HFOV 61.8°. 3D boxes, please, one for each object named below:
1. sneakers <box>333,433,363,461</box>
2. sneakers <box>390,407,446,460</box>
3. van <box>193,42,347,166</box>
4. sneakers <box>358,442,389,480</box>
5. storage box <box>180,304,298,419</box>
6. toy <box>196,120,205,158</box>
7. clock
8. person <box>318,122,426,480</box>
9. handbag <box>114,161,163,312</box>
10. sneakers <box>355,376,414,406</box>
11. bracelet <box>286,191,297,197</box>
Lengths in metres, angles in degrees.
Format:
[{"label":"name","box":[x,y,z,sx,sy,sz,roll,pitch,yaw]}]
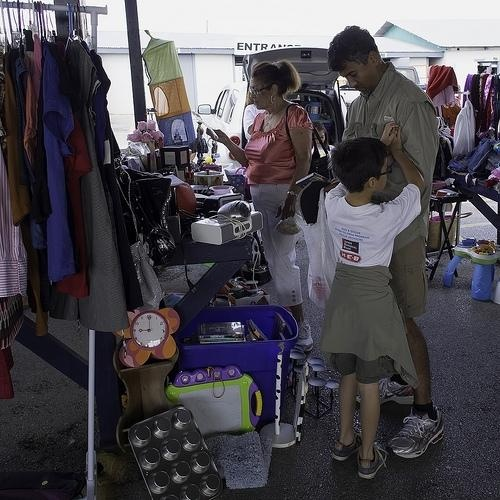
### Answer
[{"label":"sneakers","box":[0.425,0.871,1.821,0.056,0.081,0.163,3,21,32]},{"label":"sneakers","box":[0.770,0.804,1.923,0.313,0.160,0.118,-28,20,-39]},{"label":"van","box":[0.229,-1.807,5.610,1.628,1.801,3.014,-2,33,-1]},{"label":"sneakers","box":[0.524,0.889,1.780,0.075,0.073,0.163,-5,21,16]},{"label":"storage box","box":[-0.048,0.452,1.977,0.540,0.435,0.440,-1,5,-3]},{"label":"toy","box":[-0.411,-0.920,3.491,0.073,0.299,0.365,-3,12,-7]},{"label":"clock","box":[-0.425,0.333,1.656,0.276,0.278,0.102,-4,7,-26]},{"label":"person","box":[0.491,0.220,1.692,0.377,1.421,0.281,3,12,24]},{"label":"handbag","box":[-0.445,-0.040,1.598,0.161,0.581,0.195,0,11,7]},{"label":"sneakers","box":[0.778,0.764,2.327,0.351,0.181,0.137,3,0,-7]},{"label":"bracelet","box":[0.241,-0.317,2.376,0.058,0.030,0.029,2,13,18]}]
